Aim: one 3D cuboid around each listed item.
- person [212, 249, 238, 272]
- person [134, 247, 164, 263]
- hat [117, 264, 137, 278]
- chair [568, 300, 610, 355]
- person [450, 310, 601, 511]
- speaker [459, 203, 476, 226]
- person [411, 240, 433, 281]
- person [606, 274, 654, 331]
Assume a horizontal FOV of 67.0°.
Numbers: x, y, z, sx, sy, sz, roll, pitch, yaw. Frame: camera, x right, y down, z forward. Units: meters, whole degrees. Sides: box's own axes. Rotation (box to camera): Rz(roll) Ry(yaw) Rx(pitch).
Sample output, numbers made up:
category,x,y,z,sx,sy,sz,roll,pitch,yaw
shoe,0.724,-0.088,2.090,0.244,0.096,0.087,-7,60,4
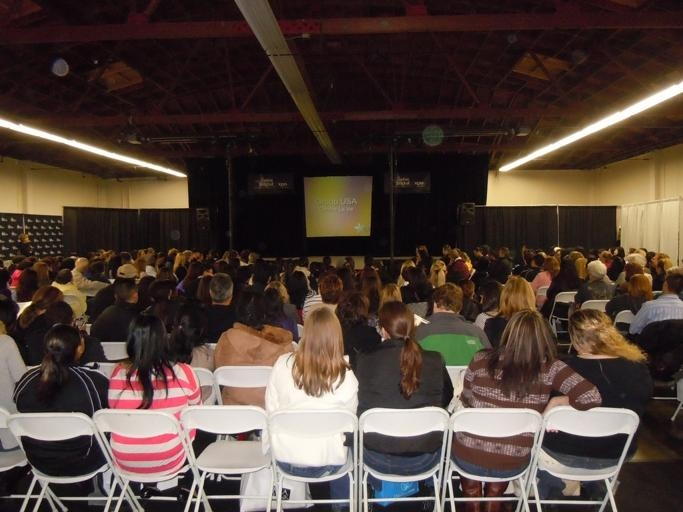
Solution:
category,x,y,z,sx,sy,sz,roll,pitch,yaw
person,-2.016,0.113,8.885,0.447,0.386,0.890,4,-2,-11
person,-4.650,-0.041,12.257,0.502,0.275,0.709,0,0,-8
hat,-3.077,0.219,7.339,0.260,0.170,0.370,2,6,-30
chair,2.084,0.586,4.216,0.290,0.502,0.349,2,16,25
person,1.470,1.288,4.048,1.034,1.988,0.961,8,31,20
speaker,4.129,-1.410,16.780,0.481,0.671,0.370,0,4,5
person,1.739,0.262,11.033,0.277,0.925,0.293,-11,18,-21
person,3.858,0.486,6.929,0.502,0.938,0.649,1,15,11
